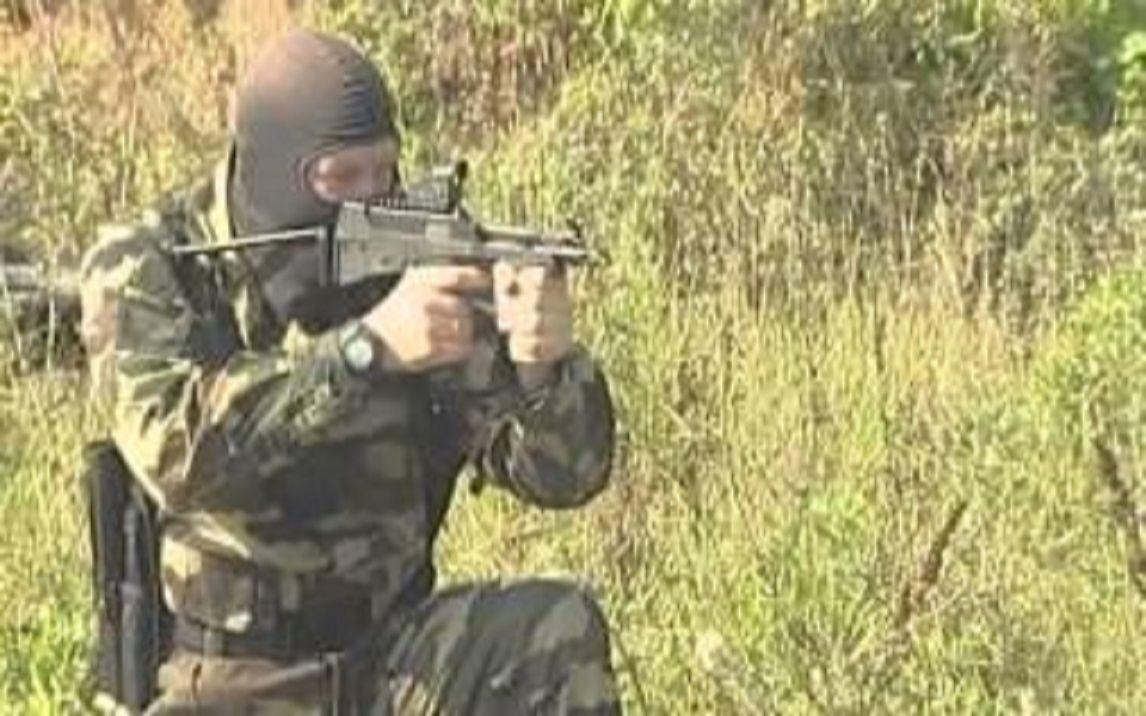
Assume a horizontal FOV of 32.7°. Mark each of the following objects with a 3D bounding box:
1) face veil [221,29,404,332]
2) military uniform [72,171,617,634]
[{"bbox_3d":[-0.377,-0.271,3.082,0.206,0.272,0.497,-3,73,-8],"label":"face veil"},{"bbox_3d":[-0.376,0.116,3.032,0.538,0.753,0.748,15,65,-39],"label":"military uniform"}]
